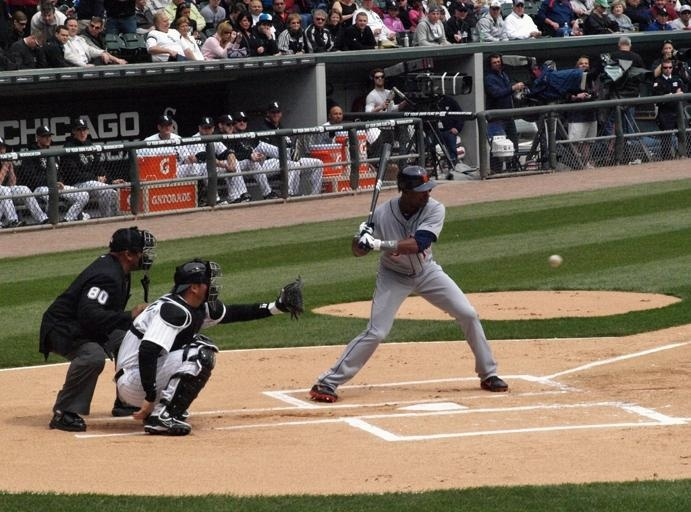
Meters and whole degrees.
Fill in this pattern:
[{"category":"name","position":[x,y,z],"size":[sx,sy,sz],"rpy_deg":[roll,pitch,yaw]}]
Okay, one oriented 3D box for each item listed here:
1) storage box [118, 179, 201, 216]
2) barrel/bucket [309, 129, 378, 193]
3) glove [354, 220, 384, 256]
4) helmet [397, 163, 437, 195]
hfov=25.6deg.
[{"category":"storage box","position":[-3.059,-0.968,25.881],"size":[0.585,0.445,1.044],"rpy_deg":[2,5,44]},{"category":"barrel/bucket","position":[-0.006,-1.621,27.403],"size":[1.279,1.071,0.637],"rpy_deg":[1,22,5]},{"category":"glove","position":[0.269,-0.185,17.264],"size":[0.321,0.367,0.656],"rpy_deg":[-3,4,1]},{"category":"helmet","position":[0.804,-0.849,17.163],"size":[0.357,0.184,0.275],"rpy_deg":[6,23,29]}]
